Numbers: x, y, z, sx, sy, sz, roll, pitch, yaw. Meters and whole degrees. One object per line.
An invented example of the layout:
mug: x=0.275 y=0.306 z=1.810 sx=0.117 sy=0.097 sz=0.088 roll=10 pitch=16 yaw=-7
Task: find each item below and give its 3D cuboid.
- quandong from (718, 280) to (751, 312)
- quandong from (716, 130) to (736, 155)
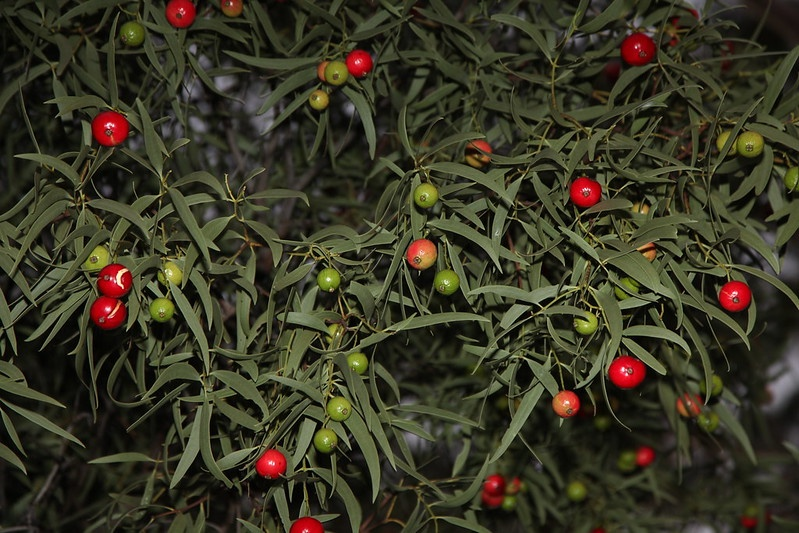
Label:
quandong: x=0.646 y=0.056 z=1.557 sx=0.049 sy=0.057 sz=0.072 roll=0 pitch=60 yaw=30
quandong: x=0.637 y=-0.248 z=1.591 sx=0.039 sy=0.054 sz=0.043 roll=3 pitch=36 yaw=20
